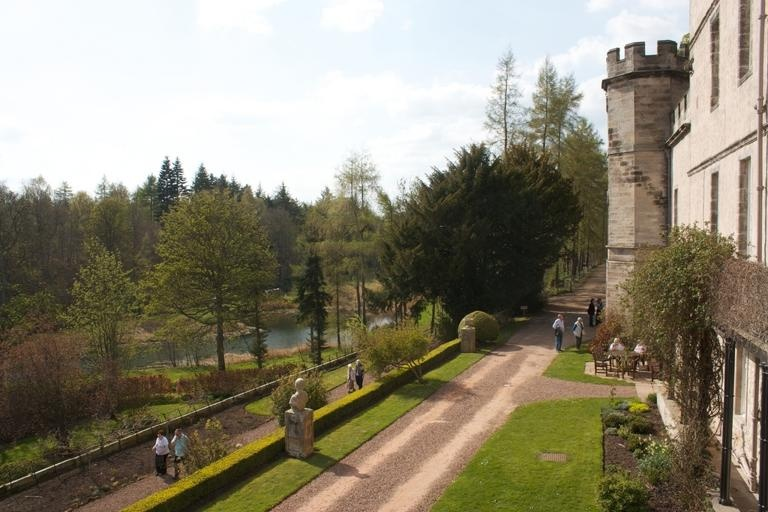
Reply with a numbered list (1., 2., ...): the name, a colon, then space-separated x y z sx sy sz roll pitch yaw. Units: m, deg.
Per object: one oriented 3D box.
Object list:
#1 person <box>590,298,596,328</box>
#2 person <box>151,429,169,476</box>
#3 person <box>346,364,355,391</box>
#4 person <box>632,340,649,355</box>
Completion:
1. person: 14.793 4.091 48.391 0.474 1.912 1.258 -4 -2 17
2. person: -11.145 9.715 33.923 0.606 1.671 1.883 -3 -3 -23
3. person: -1.995 7.184 40.289 0.500 1.428 2.087 -4 -3 -3
4. person: 13.814 4.990 36.818 0.672 0.696 1.180 -5 -3 18
